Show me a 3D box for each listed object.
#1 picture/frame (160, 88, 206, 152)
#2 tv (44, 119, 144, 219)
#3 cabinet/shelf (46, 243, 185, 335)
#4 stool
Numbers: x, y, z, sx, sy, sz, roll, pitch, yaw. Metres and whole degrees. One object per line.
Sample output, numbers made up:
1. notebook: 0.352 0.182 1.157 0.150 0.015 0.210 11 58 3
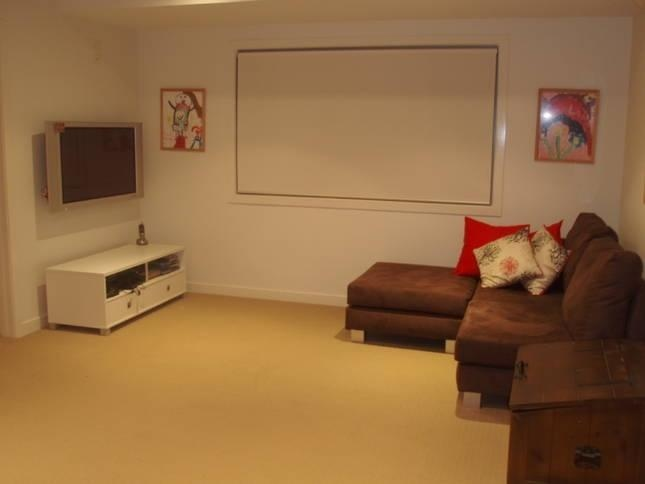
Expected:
1. picture/frame: -1.517 -1.379 5.605 0.629 0.835 0.055 4 15 13
2. tv: -2.224 -0.729 4.889 0.053 0.668 0.974 10 16 27
3. cabinet/shelf: -1.988 0.428 5.005 0.675 0.666 1.216 -3 12 27
4. stool: 0.768 0.509 4.457 0.733 0.434 0.835 4 11 15
